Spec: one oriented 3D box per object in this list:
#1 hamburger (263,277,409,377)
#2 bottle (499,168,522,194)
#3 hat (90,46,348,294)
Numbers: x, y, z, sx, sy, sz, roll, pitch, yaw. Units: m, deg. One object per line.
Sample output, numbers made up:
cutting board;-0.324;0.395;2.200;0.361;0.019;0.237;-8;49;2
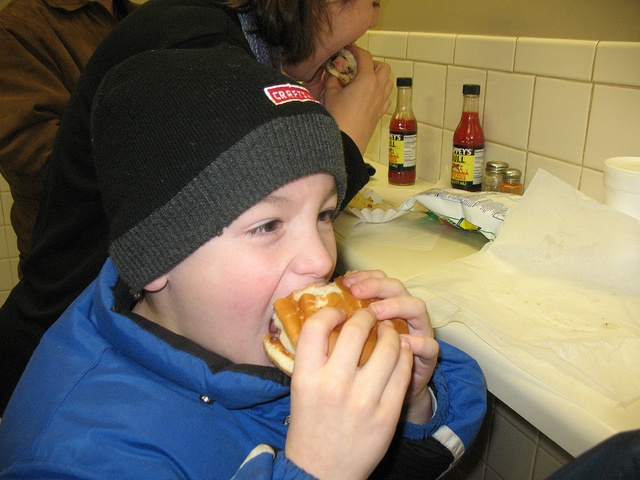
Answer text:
hamburger;0.018;0.132;0.924;0.176;0.078;0.210;41;36;26
bottle;0.631;-0.189;1.613;0.070;0.081;0.045;12;27;19
hat;-0.212;-0.145;1.043;0.421;0.465;0.363;53;33;7
